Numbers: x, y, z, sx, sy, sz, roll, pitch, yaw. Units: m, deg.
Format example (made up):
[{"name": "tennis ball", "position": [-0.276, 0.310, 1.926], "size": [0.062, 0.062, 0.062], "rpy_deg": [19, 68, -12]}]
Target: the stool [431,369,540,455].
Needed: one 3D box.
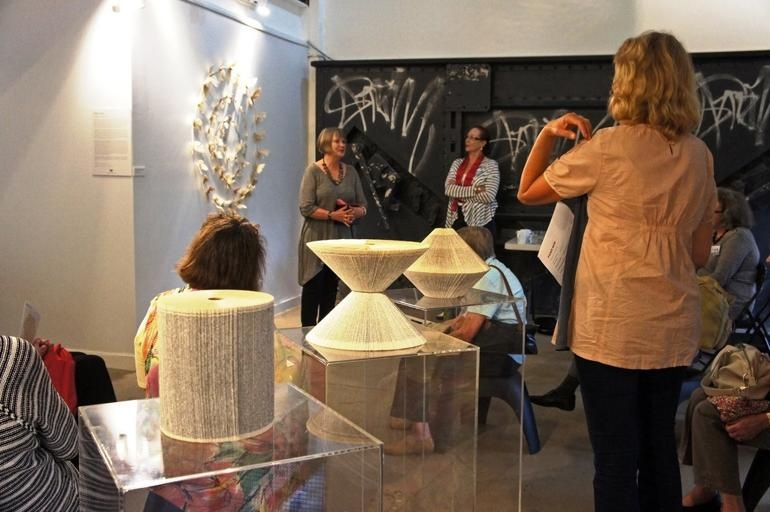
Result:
[{"name": "stool", "position": [0.488, 0.627, 2.585], "size": [0.280, 0.231, 0.268], "rpy_deg": [-2, 0, 3]}]

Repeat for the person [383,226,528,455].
[{"name": "person", "position": [0.351, 0.299, 2.527], "size": [0.433, 0.795, 1.153], "rpy_deg": [2, 6, 13]}]

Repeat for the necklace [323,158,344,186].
[{"name": "necklace", "position": [-0.388, -0.617, 4.579], "size": [0.140, 0.188, 0.051], "rpy_deg": [-18, -3, -30]}]

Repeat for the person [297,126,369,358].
[{"name": "person", "position": [-0.376, -0.213, 4.502], "size": [0.550, 1.417, 0.432], "rpy_deg": [-2, 7, -19]}]

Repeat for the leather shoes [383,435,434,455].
[{"name": "leather shoes", "position": [0.084, 0.637, 2.113], "size": [0.184, 0.067, 0.062], "rpy_deg": [5, -8, -24]}]

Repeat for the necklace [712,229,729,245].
[{"name": "necklace", "position": [2.104, -0.116, 3.842], "size": [0.071, 0.122, 0.098], "rpy_deg": [11, 6, 8]}]
